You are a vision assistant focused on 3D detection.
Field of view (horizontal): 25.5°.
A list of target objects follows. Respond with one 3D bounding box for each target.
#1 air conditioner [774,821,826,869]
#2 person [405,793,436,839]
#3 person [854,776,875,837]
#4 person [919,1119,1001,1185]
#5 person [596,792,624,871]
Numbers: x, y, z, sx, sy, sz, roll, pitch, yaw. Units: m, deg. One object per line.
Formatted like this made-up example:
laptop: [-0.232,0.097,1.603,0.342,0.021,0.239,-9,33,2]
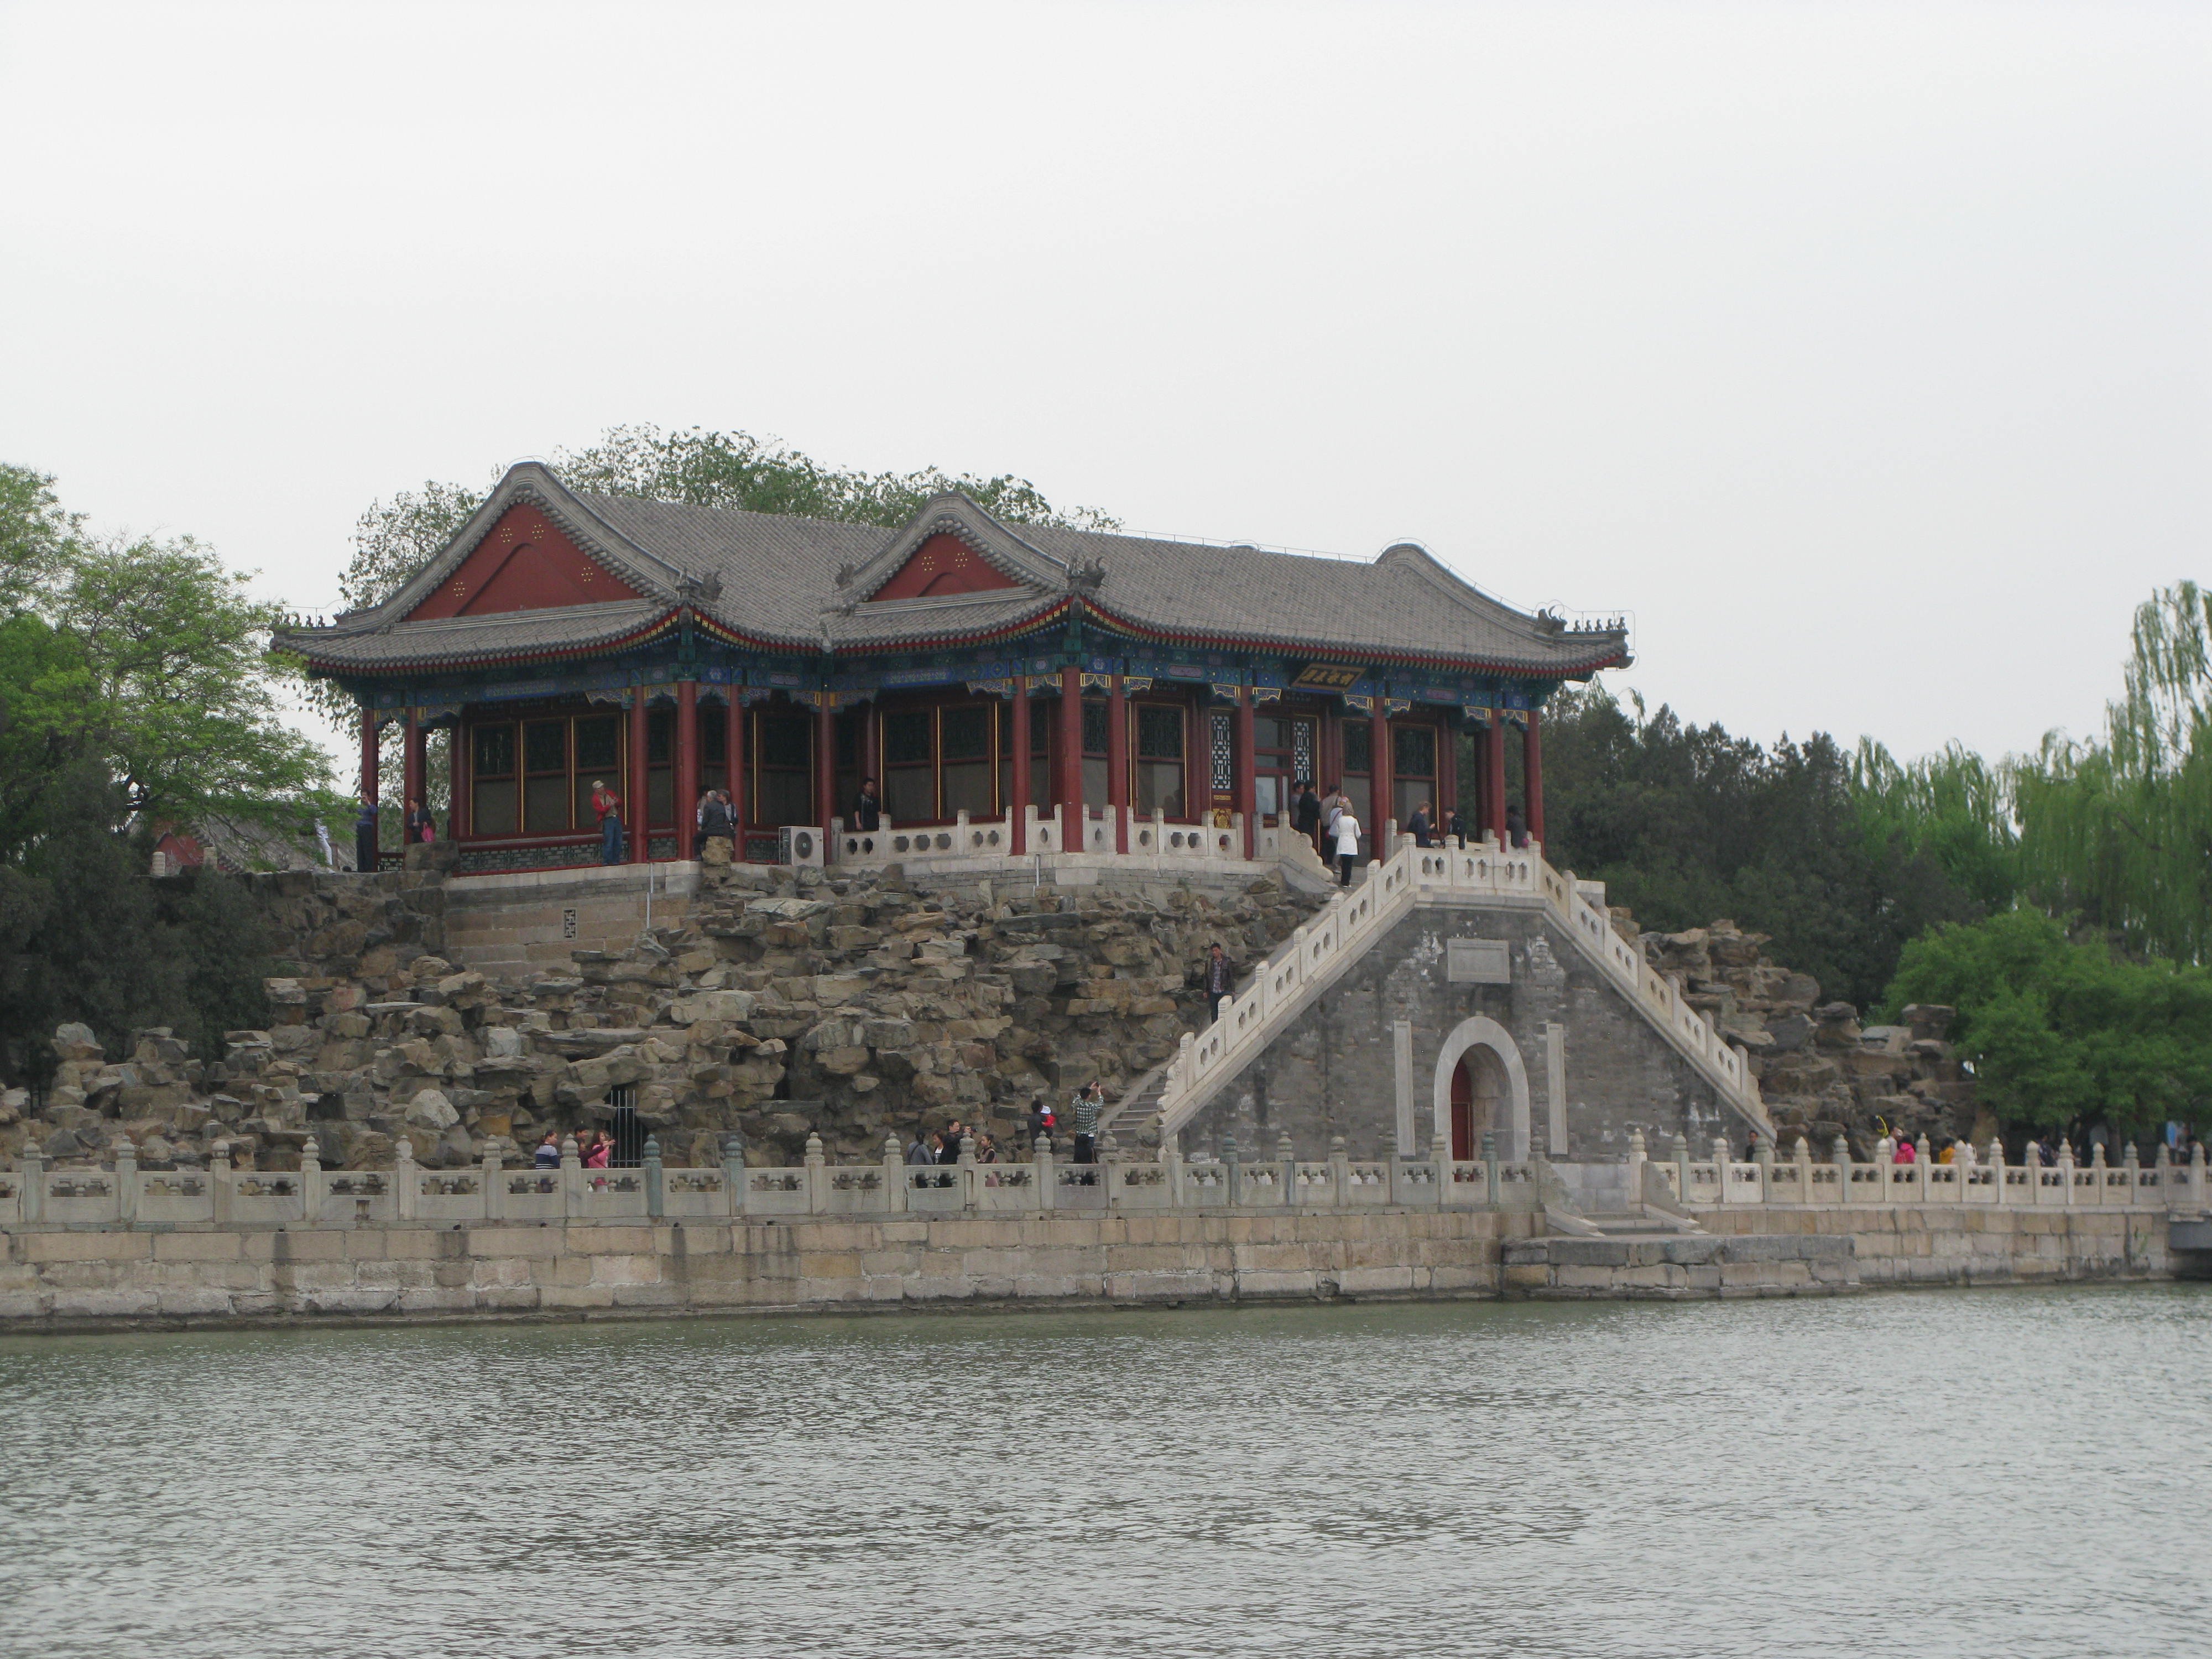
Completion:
air conditioner: [-5.525,0.212,88.504,0.271,0.671,0.783,-5,-6,40]
person: [-12.680,-0.300,90.735,0.435,0.937,1.590,0,-5,-10]
person: [-4.350,-0.506,89.144,0.400,0.900,0.927,-1,-5,-3]
person: [-2.407,5.031,77.250,0.919,0.649,0.912,1,3,17]
person: [-8.892,-0.150,88.044,0.501,1.436,1.964,0,-5,-6]
